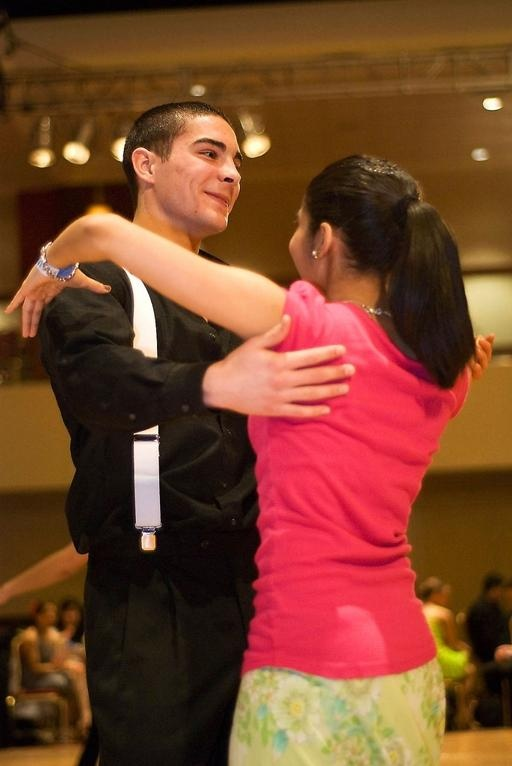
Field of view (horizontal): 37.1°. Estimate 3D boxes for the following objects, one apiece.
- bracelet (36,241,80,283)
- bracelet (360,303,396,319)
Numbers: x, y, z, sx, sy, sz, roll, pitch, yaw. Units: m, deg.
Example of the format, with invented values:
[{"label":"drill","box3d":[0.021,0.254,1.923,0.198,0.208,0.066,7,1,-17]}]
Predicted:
[{"label":"bracelet","box3d":[-0.345,-0.203,1.312,0.070,0.070,0.038,13,-3,-13]},{"label":"bracelet","box3d":[0.182,-0.106,1.138,0.012,0.013,0.084,0,-7,41]}]
